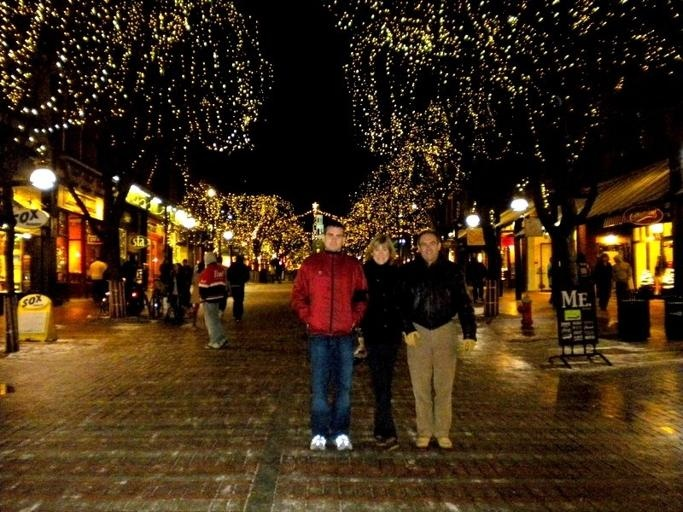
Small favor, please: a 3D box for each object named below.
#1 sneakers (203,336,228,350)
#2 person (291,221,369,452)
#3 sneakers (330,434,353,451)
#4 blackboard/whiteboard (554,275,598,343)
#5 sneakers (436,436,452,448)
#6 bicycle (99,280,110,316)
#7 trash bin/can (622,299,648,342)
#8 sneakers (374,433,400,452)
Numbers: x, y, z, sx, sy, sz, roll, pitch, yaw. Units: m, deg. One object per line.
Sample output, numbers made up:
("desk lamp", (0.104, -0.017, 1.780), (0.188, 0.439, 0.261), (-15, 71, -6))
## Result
("sneakers", (-2.918, 2.057, 13.216), (0.565, 0.243, 0.214), (0, 6, 40))
("person", (-0.111, 0.908, 6.422), (0.854, 2.590, 0.318), (-1, -6, 2))
("sneakers", (0.020, 2.134, 6.500), (0.240, 0.169, 0.333), (-1, -6, 1))
("blackboard/whiteboard", (4.713, 1.215, 11.249), (0.856, 1.152, 0.459), (2, -6, -25))
("sneakers", (1.202, 2.149, 6.509), (0.175, 0.134, 0.191), (-2, -6, 9))
("bicycle", (-8.858, 1.537, 21.159), (0.265, 1.339, 1.491), (2, -6, -24))
("trash bin/can", (7.042, 1.565, 13.591), (0.671, 1.002, 0.383), (-3, -6, 21))
("sneakers", (0.527, 2.151, 6.515), (0.287, 0.144, 0.320), (-1, -6, 4))
